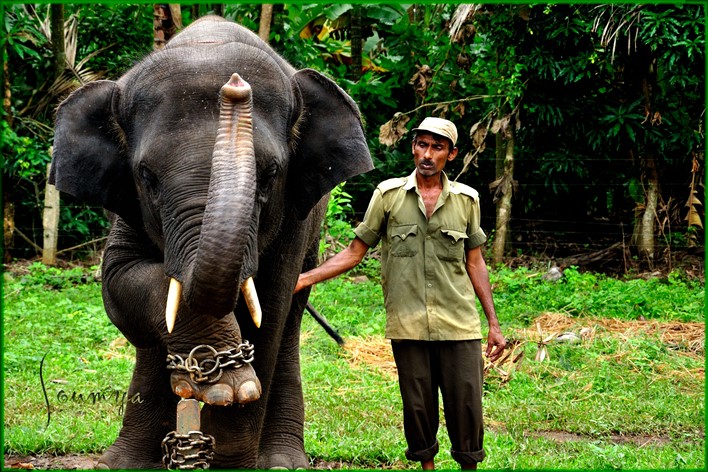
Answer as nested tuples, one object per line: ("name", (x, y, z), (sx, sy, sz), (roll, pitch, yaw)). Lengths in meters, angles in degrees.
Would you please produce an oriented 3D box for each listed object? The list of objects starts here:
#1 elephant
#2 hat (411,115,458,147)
("elephant", (-0.869, 0.099, 5.693), (1.549, 3.154, 1.461), (-4, -5, 33))
("hat", (0.605, -0.770, 6.123), (0.297, 0.227, 0.212), (-1, -5, -4))
